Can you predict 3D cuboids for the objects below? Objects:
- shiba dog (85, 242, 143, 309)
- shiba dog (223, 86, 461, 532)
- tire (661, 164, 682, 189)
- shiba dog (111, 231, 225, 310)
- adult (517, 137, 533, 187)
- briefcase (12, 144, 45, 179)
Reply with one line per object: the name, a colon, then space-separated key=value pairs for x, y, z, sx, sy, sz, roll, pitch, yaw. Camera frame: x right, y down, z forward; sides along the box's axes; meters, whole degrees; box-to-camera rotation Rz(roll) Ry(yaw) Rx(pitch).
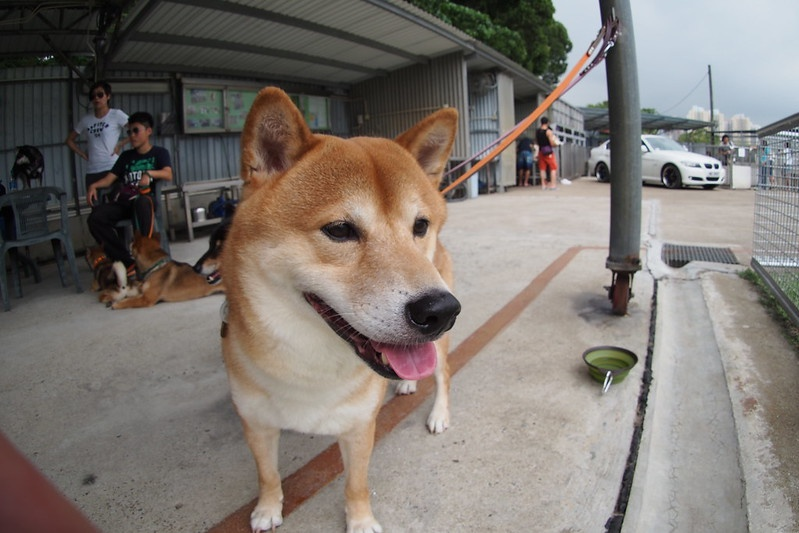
shiba dog: x=-3.631 y=0.097 z=5.897 sx=1.089 sy=0.589 sz=0.365 roll=21 pitch=28 yaw=36
shiba dog: x=-0.330 y=0.272 z=2.585 sx=1.237 sy=2.401 sz=0.542 roll=2 pitch=12 yaw=15
tire: x=8.366 y=-2.744 z=14.364 sx=0.214 sy=0.653 sz=0.623 roll=-2 pitch=18 yaw=-15
shiba dog: x=-2.752 y=0.100 z=5.791 sx=1.633 sy=0.907 sz=0.564 roll=6 pitch=10 yaw=-32
adult: x=4.700 y=-3.977 z=17.640 sx=0.660 sy=2.050 sz=0.560 roll=0 pitch=-1 yaw=22
briefcase: x=-5.631 y=-1.536 z=7.080 sx=0.364 sy=0.515 sz=1.300 roll=-11 pitch=17 yaw=-38
